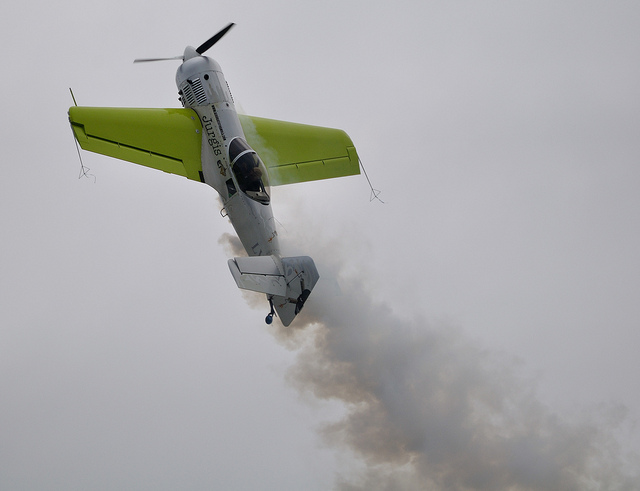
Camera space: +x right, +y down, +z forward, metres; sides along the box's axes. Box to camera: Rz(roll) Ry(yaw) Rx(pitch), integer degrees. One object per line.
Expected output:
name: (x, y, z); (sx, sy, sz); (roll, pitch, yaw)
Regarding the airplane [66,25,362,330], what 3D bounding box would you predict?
airplane: (-1.826, -1.657, 20.109); (7.299, 2.706, 9.078); (6, -48, 25)
